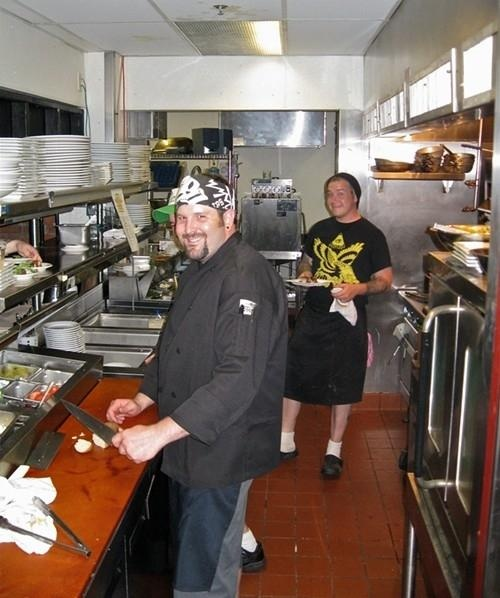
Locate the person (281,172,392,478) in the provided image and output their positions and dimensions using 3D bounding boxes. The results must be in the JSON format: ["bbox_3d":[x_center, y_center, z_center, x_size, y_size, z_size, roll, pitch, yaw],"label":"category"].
[{"bbox_3d":[0.546,0.150,3.341,0.709,1.991,0.619,6,13,40],"label":"person"}]

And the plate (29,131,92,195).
[{"bbox_3d":[-0.856,-0.600,2.233,0.311,0.220,0.320,-13,19,-39],"label":"plate"}]

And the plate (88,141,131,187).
[{"bbox_3d":[-0.871,-0.852,3.145,0.313,0.283,0.298,0,12,-4],"label":"plate"}]

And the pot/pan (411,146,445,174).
[{"bbox_3d":[1.154,-0.891,3.173,0.209,0.212,0.204,-2,13,-3],"label":"pot/pan"}]

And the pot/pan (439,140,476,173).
[{"bbox_3d":[1.328,-0.919,3.156,0.183,0.145,0.229,-6,11,-38],"label":"pot/pan"}]

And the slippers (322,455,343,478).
[{"bbox_3d":[0.561,1.108,3.269,0.123,0.125,0.211,2,10,23],"label":"slippers"}]

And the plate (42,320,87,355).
[{"bbox_3d":[-1.012,0.190,2.629,0.208,0.163,0.199,0,4,-15],"label":"plate"}]

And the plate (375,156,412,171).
[{"bbox_3d":[0.987,-0.909,3.306,0.251,0.094,0.146,0,10,9],"label":"plate"}]

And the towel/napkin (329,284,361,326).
[{"bbox_3d":[0.607,0.049,3.030,0.231,0.222,0.097,3,37,0],"label":"towel/napkin"}]

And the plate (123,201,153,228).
[{"bbox_3d":[-0.901,-0.702,3.973,0.218,0.134,0.220,16,25,40],"label":"plate"}]
